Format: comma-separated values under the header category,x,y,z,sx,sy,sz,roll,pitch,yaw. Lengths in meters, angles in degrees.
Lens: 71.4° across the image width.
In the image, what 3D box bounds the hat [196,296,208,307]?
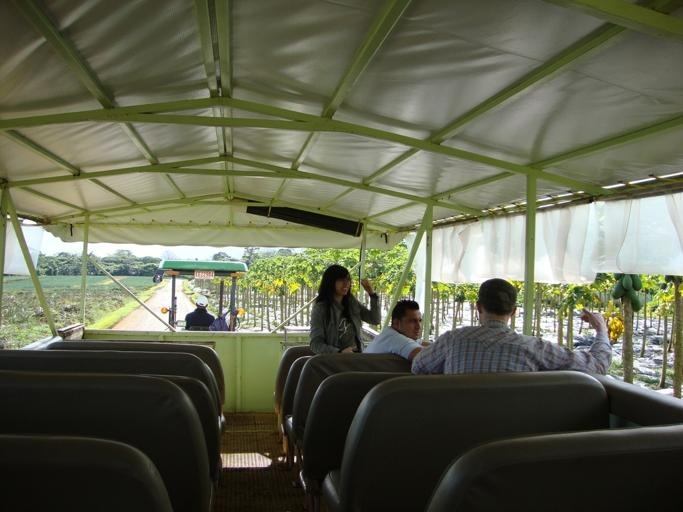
category,x,y,z,sx,sy,sz,roll,pitch,yaw
hat,-2.300,0.747,7.842,0.159,0.169,0.203,8,6,-11

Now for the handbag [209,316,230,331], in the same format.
category,x,y,z,sx,sy,sz,roll,pitch,yaw
handbag,-1.981,1.113,7.765,0.311,0.210,0.585,13,-6,-10

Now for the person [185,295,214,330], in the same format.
category,x,y,z,sx,sy,sz,roll,pitch,yaw
person,-2.374,1.068,7.965,0.552,0.756,0.493,3,2,-18
